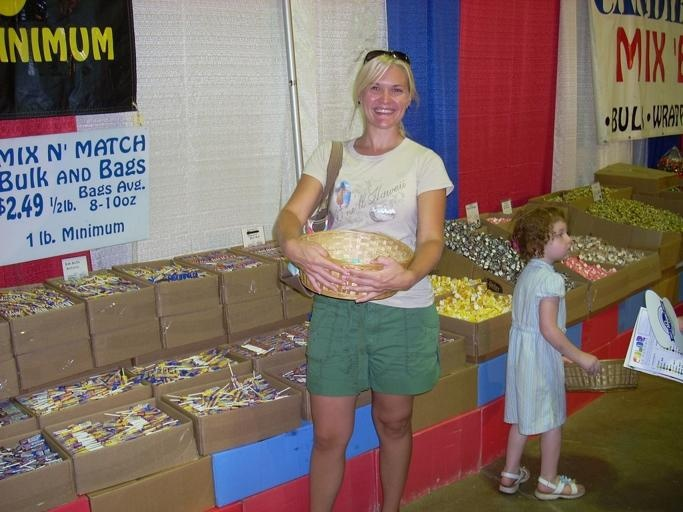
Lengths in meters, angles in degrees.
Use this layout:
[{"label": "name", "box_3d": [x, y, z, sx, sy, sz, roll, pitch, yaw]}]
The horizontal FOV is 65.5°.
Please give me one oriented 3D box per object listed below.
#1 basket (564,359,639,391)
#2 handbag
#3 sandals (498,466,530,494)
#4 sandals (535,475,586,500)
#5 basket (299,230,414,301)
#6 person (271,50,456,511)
[{"label": "basket", "box_3d": [1.527, 0.712, 3.156, 0.335, 0.128, 0.231, -1, -7, -6]}, {"label": "handbag", "box_3d": [-0.164, -0.046, 2.004, 0.116, 0.314, 0.258, -20, -20, 27]}, {"label": "sandals", "box_3d": [0.998, 1.273, 3.092, 0.100, 0.100, 0.225, 6, 18, 34]}, {"label": "sandals", "box_3d": [1.230, 1.300, 3.041, 0.257, 0.118, 0.125, -5, 11, -1]}, {"label": "basket", "box_3d": [0.060, -0.004, 2.105, 0.309, 0.117, 0.314, -2, 24, -17]}, {"label": "person", "box_3d": [0.066, 0.153, 2.132, 0.621, 1.878, 0.566, 8, 16, 30]}]
